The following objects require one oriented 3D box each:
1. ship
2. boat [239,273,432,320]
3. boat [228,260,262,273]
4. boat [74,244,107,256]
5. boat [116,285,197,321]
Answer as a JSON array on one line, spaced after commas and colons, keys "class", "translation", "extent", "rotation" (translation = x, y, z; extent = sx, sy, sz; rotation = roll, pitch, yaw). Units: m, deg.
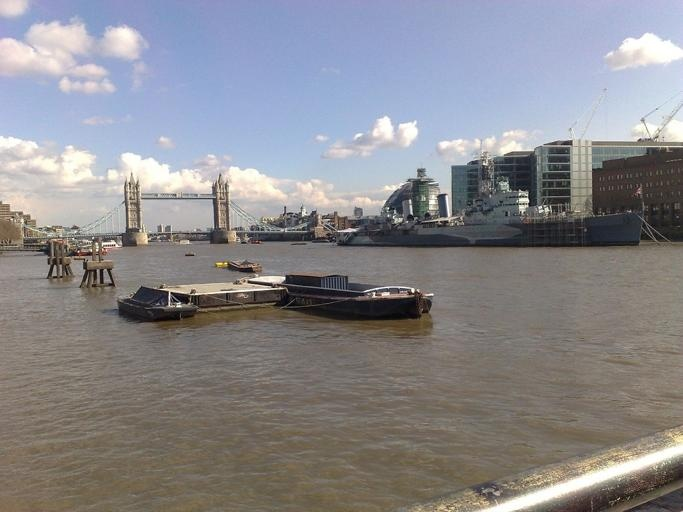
[{"class": "ship", "translation": [23.465, -9.133, 130.009], "extent": [64.715, 14.299, 10.803], "rotation": [-1, 6, 37]}, {"class": "boat", "translation": [-0.486, 2.402, 41.136], "extent": [2.701, 2.340, 12.791], "rotation": [-9, 11, -39]}, {"class": "boat", "translation": [-12.668, 1.424, 87.075], "extent": [2.274, 1.306, 7.232], "rotation": [-3, 2, -26]}, {"class": "boat", "translation": [-49.541, -1.190, 133.423], "extent": [5.714, 1.114, 3.622], "rotation": [-2, 2, -23]}, {"class": "boat", "translation": [-11.310, 2.866, 40.270], "extent": [2.272, 1.319, 4.602], "rotation": [-3, 5, -42]}]
